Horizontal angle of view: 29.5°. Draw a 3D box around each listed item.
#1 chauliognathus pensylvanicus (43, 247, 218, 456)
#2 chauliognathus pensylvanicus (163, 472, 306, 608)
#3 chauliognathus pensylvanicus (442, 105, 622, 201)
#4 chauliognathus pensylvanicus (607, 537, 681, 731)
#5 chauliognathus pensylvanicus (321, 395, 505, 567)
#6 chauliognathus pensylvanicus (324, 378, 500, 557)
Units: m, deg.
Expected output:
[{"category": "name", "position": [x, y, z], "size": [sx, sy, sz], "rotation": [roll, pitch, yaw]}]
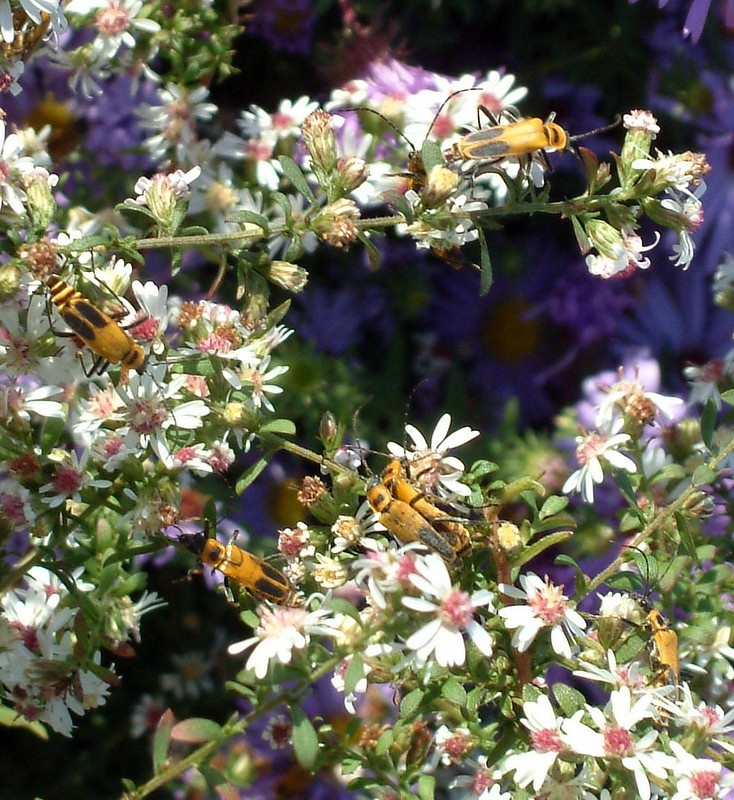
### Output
[{"category": "chauliognathus pensylvanicus", "position": [-0.311, -0.070, 1.740], "size": [0.059, 0.213, 0.151], "rotation": [-16, 29, 43]}, {"category": "chauliognathus pensylvanicus", "position": [-0.171, 0.212, 1.799], "size": [0.185, 0.051, 0.110], "rotation": [30, 46, -5]}, {"category": "chauliognathus pensylvanicus", "position": [0.209, -0.322, 1.839], "size": [0.186, 0.051, 0.127], "rotation": [-12, 65, -2]}, {"category": "chauliognathus pensylvanicus", "position": [0.377, 0.302, 1.788], "size": [0.054, 0.140, 0.180], "rotation": [-20, 82, 20]}, {"category": "chauliognathus pensylvanicus", "position": [0.051, 0.104, 1.738], "size": [0.053, 0.176, 0.128], "rotation": [-42, 11, 1]}, {"category": "chauliognathus pensylvanicus", "position": [0.042, 0.127, 1.708], "size": [0.196, 0.054, 0.164], "rotation": [38, 66, 1]}]
